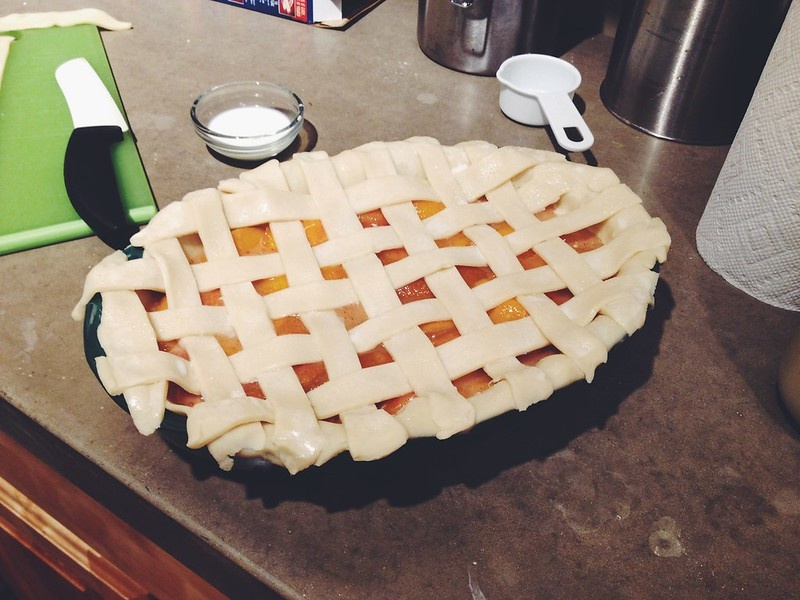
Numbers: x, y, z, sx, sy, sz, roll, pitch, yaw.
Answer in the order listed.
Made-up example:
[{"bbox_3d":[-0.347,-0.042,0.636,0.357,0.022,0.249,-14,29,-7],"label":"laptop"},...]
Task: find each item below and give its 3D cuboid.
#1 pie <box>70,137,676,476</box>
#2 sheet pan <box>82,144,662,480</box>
[{"bbox_3d":[-0.023,-0.023,1.035,0.769,0.118,0.462,-20,55,-15],"label":"pie"},{"bbox_3d":[-0.031,0.022,1.074,0.662,0.130,0.422,-14,58,-14],"label":"sheet pan"}]
